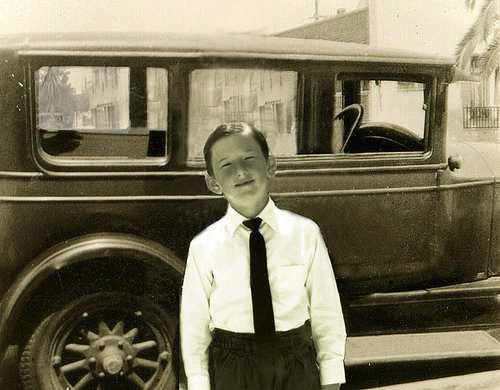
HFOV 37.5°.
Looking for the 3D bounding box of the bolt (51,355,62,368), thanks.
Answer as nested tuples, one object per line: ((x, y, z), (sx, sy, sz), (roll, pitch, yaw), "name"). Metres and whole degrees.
((-0.993, 0.853, 3.765), (0.048, 0.059, 0.017), (-6, 5, -21), "bolt")

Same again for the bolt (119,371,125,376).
((-0.662, 0.919, 3.796), (0.016, 0.019, 0.004), (-8, 36, -5), "bolt")

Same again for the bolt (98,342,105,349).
((-0.762, 0.770, 3.781), (0.025, 0.028, 0.026), (-10, -6, 33), "bolt")

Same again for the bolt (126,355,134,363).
((-0.624, 0.842, 3.800), (0.026, 0.030, 0.018), (4, 39, -15), "bolt")

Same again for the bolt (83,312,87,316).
((-0.846, 0.606, 3.764), (0.020, 0.019, 0.004), (-2, 3, -15), "bolt")

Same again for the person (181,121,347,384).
((0.051, 0.256, 3.268), (0.723, 1.147, 0.311), (-1, 3, 8), "person")

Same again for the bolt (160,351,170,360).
((-0.443, 0.832, 3.828), (0.036, 0.032, 0.036), (-1, 6, 5), "bolt")

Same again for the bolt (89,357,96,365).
((-0.810, 0.848, 3.773), (0.029, 0.035, 0.008), (-4, -11, -31), "bolt")
